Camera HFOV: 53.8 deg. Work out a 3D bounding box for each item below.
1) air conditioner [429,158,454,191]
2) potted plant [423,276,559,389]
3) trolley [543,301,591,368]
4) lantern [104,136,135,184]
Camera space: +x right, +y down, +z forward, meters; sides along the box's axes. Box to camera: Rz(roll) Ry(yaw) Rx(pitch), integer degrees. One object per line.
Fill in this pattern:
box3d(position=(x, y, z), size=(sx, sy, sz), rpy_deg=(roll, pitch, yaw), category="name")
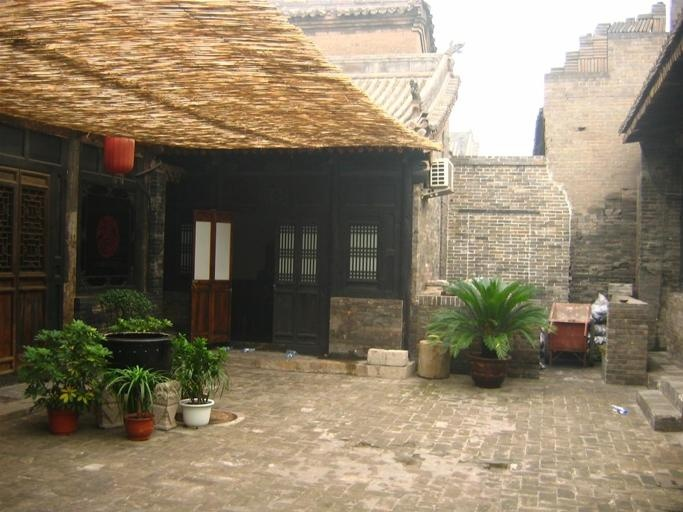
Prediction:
box3d(position=(2.070, -1.666, 13.159), size=(0.627, 0.661, 0.373), rpy_deg=(5, 8, 30), category="air conditioner")
box3d(position=(2.690, 1.384, 11.532), size=(1.874, 1.825, 2.047), rpy_deg=(4, -3, -9), category="potted plant")
box3d(position=(4.772, 1.456, 14.270), size=(0.746, 0.976, 1.386), rpy_deg=(0, 21, 13), category="trolley")
box3d(position=(-3.449, -1.543, 10.501), size=(0.515, 0.690, 0.553), rpy_deg=(1, -3, -8), category="lantern")
